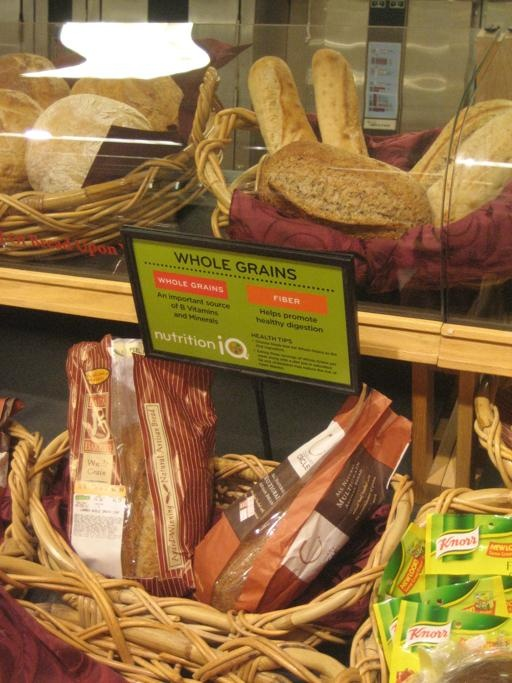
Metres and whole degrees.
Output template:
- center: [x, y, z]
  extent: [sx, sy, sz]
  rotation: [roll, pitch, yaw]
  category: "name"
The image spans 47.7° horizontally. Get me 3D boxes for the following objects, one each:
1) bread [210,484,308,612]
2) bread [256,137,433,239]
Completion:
- center: [0.005, 0.222, 0.613]
  extent: [0.144, 0.048, 0.095]
  rotation: [-45, -3, -23]
  category: "bread"
- center: [0.091, -0.160, 0.612]
  extent: [0.157, 0.042, 0.095]
  rotation: [20, 40, 18]
  category: "bread"
